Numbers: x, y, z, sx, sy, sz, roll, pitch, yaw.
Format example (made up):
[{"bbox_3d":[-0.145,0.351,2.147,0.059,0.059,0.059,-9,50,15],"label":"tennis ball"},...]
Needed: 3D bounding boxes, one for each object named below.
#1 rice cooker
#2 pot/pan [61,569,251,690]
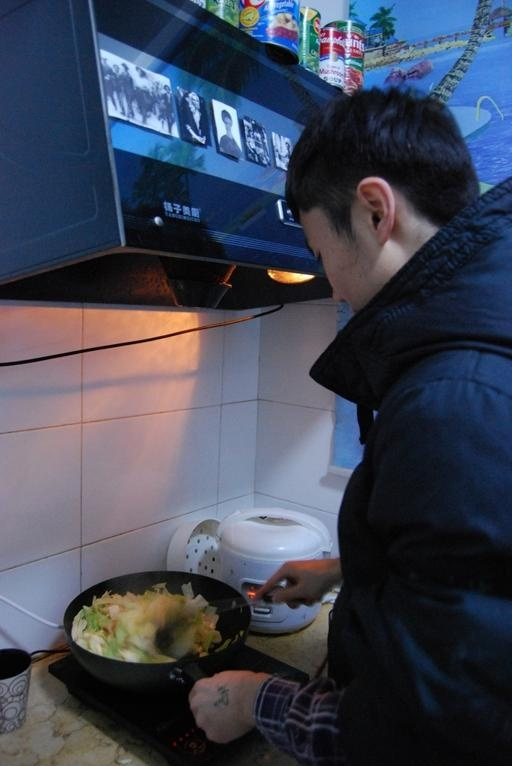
[{"bbox_3d":[0.035,0.385,1.278,0.240,0.238,0.232,-1,7,-21],"label":"rice cooker"},{"bbox_3d":[-0.193,0.411,1.051,0.277,0.109,0.308,14,13,43],"label":"pot/pan"}]
